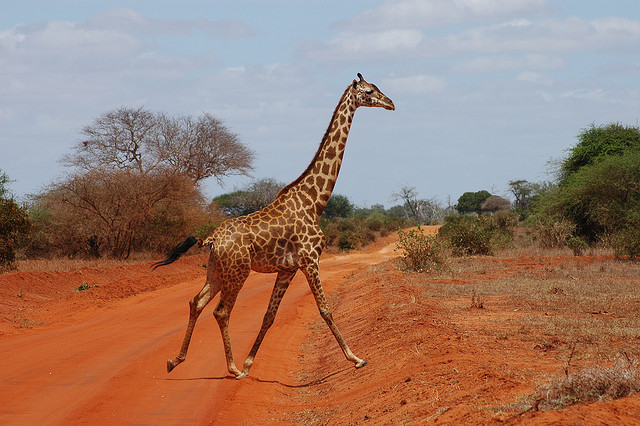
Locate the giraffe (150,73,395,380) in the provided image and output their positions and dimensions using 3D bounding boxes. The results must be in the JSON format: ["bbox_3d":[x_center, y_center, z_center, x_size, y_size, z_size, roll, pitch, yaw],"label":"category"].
[{"bbox_3d":[-1.221,0.311,22.229,5.341,8.824,6.863,0,1,0],"label":"giraffe"}]
